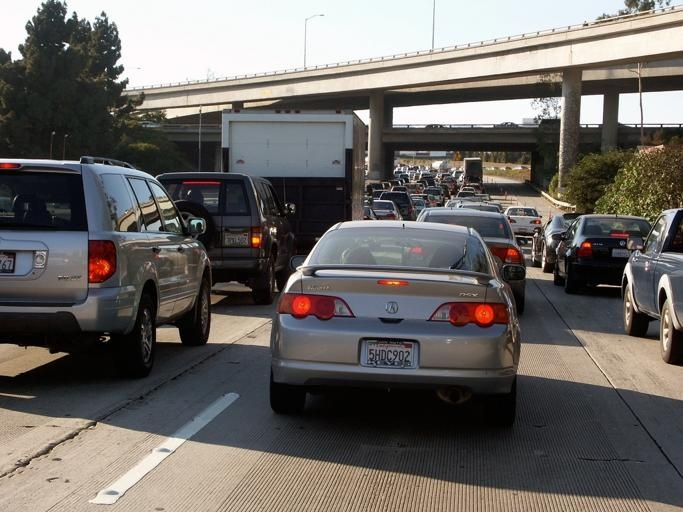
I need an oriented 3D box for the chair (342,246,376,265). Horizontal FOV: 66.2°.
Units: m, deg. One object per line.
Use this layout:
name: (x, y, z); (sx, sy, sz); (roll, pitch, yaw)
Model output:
chair: (0.179, -0.008, 5.119); (0.256, 0.150, 0.302); (2, -1, -37)
